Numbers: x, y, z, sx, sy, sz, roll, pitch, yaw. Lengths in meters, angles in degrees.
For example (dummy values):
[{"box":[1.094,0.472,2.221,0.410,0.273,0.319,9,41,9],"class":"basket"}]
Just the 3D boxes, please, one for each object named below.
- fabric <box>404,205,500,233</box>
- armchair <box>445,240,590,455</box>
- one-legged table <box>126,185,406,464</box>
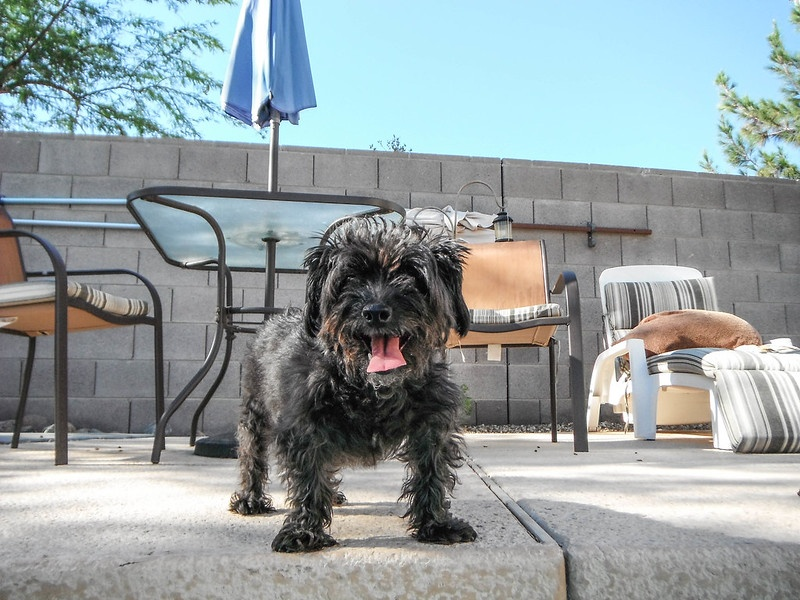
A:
[{"box":[0.441,-0.792,6.423,0.804,0.224,0.678,-1,5,-35],"class":"fabric"},{"box":[0.633,0.207,4.761,1.187,1.599,1.361,0,-11,-2],"class":"armchair"},{"box":[-0.768,0.210,4.095,1.545,1.231,1.445,-1,-11,-11],"class":"one-legged table"}]
